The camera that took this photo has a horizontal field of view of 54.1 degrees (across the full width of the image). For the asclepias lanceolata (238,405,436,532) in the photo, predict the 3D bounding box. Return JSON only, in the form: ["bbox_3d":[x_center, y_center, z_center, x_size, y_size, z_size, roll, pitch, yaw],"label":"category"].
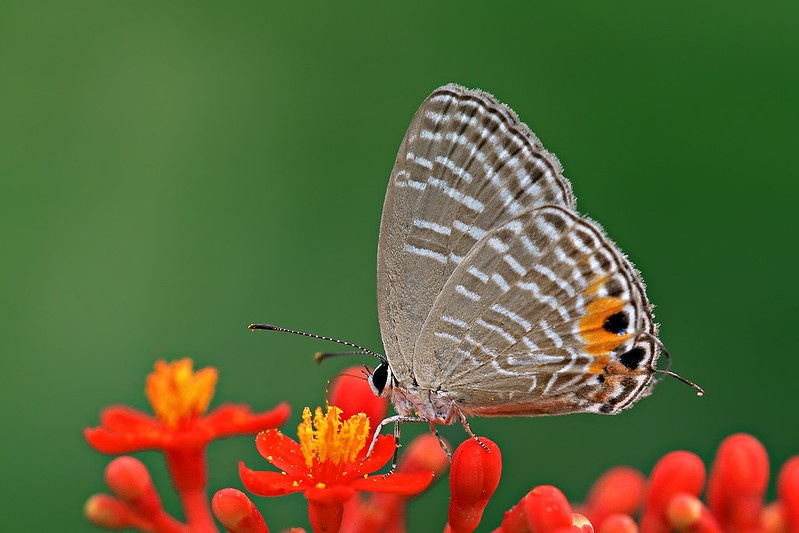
[{"bbox_3d":[-0.248,0.703,2.755,0.513,0.351,0.523,12,7,26],"label":"asclepias lanceolata"}]
